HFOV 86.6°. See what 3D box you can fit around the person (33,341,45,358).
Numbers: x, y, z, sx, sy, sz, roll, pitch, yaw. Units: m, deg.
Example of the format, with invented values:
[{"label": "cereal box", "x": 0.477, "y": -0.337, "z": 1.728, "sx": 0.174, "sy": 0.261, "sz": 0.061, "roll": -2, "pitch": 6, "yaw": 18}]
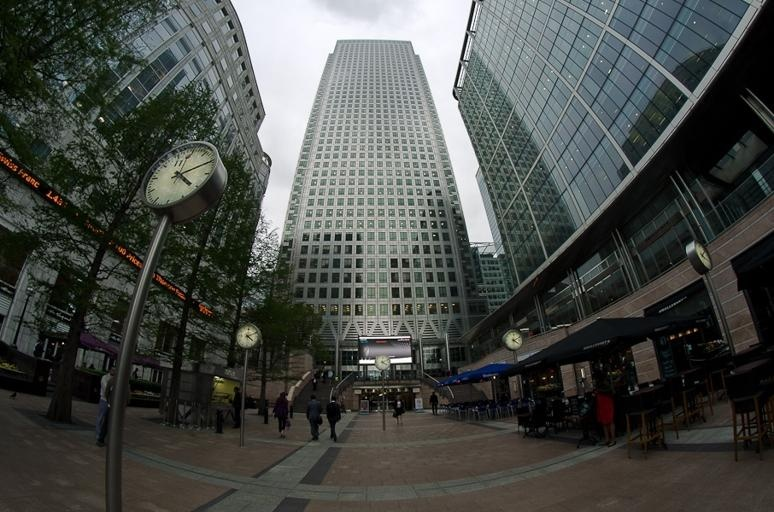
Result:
[{"label": "person", "x": -20.977, "y": 5.524, "z": 24.738, "sx": 0.449, "sy": 1.034, "sz": 0.784, "roll": 16, "pitch": -29, "yaw": -31}]
